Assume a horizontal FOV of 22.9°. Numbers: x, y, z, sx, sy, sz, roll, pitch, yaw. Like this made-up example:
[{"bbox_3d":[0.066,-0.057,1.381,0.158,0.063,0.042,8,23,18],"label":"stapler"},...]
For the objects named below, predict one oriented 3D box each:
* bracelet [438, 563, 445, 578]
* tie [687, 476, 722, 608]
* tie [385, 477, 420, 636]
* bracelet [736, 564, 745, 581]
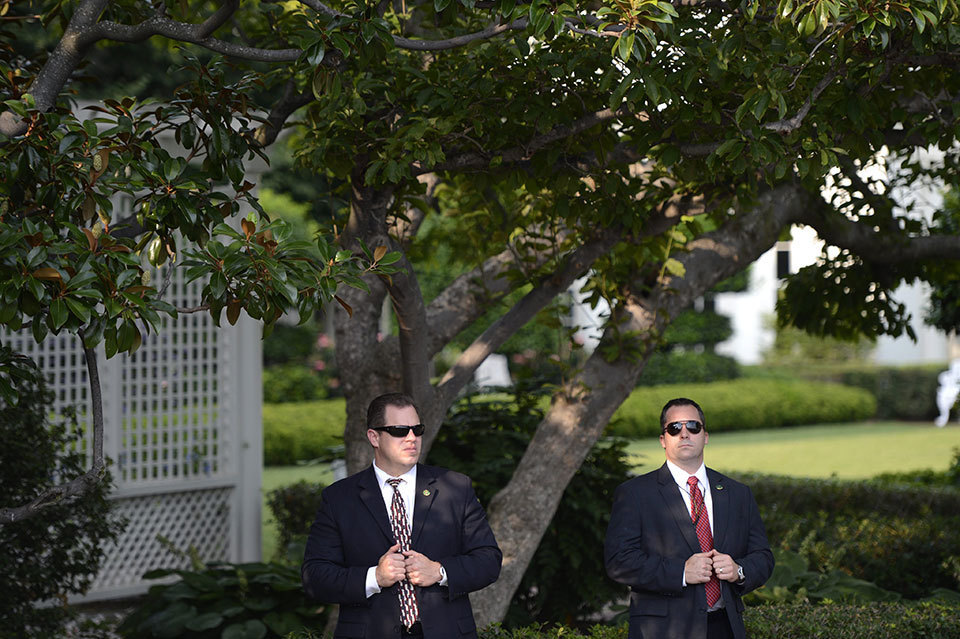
[{"bbox_3d":[-0.345,2.141,20.268,0.065,0.103,0.028,2,2,-12],"label":"bracelet"},{"bbox_3d":[1.885,1.865,20.674,0.187,1.274,0.286,-6,-9,-4],"label":"tie"},{"bbox_3d":[-0.686,1.976,20.343,0.180,1.402,0.139,-1,-8,-29],"label":"tie"},{"bbox_3d":[2.217,2.168,20.427,0.072,0.106,0.105,5,-10,-15],"label":"bracelet"}]
